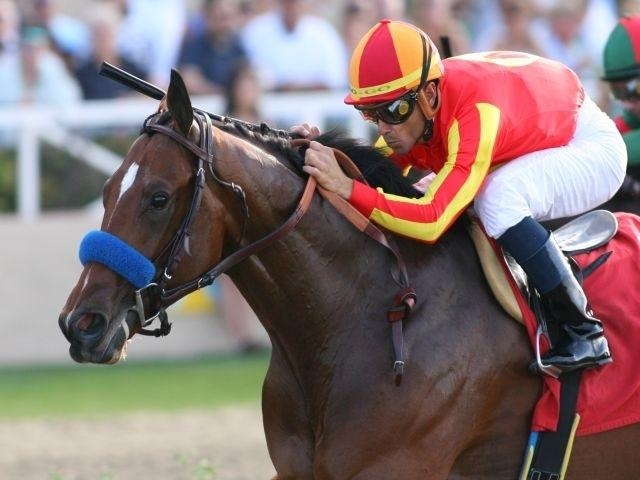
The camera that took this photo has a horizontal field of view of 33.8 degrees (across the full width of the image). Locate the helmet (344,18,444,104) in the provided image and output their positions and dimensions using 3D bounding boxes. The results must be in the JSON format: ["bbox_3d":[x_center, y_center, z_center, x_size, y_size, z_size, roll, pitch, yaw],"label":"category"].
[{"bbox_3d":[0.311,-0.826,4.752,0.519,0.339,0.380,-21,17,-33],"label":"helmet"}]

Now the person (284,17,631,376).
[{"bbox_3d":[0.667,-0.201,4.943,1.474,1.592,1.092,-6,7,2],"label":"person"}]
